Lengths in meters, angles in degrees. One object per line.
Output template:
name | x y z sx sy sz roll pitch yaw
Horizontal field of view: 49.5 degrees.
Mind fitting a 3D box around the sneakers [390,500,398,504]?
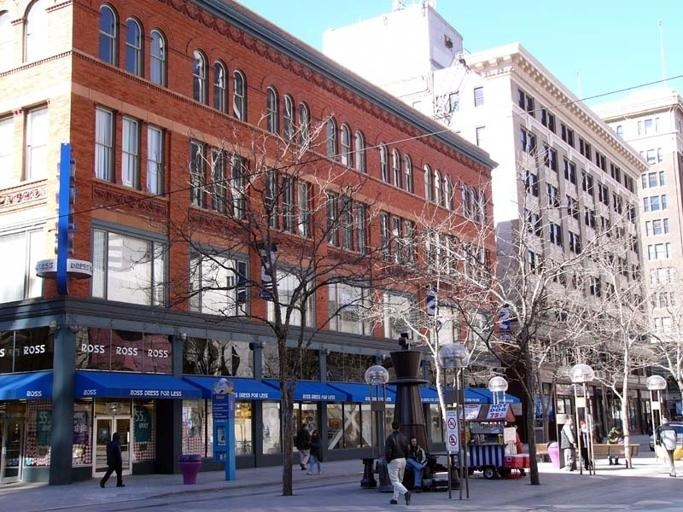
sneakers | 1.381 6.496 19.610 0.180 0.142 0.318 -2 -20 -2
